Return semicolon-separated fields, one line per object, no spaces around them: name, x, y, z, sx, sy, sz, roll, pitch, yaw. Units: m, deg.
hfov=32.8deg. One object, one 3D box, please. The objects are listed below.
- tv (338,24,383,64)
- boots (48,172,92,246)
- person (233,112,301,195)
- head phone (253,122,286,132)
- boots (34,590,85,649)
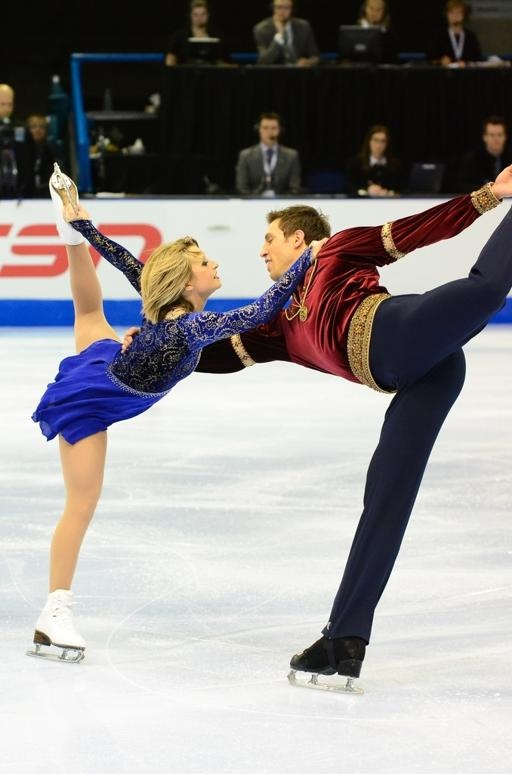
tv;1.065;-3.400;8.833;0.581;0.362;0.378;1;10;6
boots;-0.502;-0.479;2.293;0.087;0.217;0.093;-12;-3;-7
person;0.118;-2.203;8.387;0.680;0.816;0.478;-1;17;0
head phone;0.114;-2.544;8.512;0.200;0.064;0.190;0;7;2
boots;-0.426;0.520;1.915;0.164;0.105;0.054;-2;-15;42
